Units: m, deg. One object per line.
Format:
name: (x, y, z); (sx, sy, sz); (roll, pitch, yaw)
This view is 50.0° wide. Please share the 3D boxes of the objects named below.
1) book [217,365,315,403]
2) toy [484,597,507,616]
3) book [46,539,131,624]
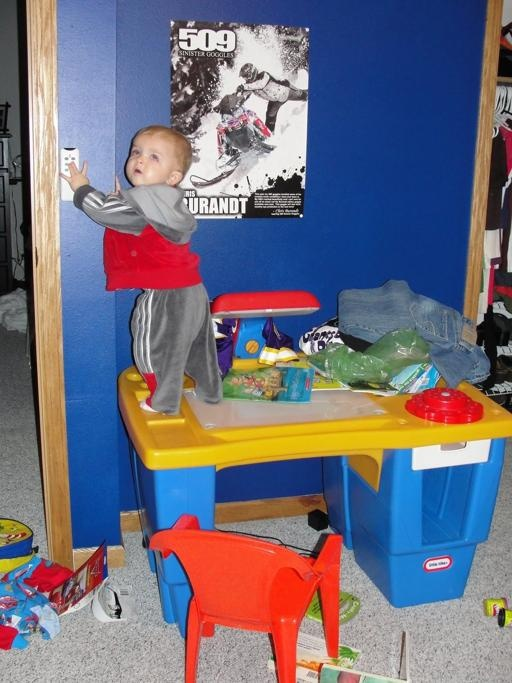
book: (0.030, 0.106, 1.467); (0.240, 0.023, 0.201); (3, 21, 4)
toy: (0.605, 0.674, 1.393); (0.045, 0.047, 0.045); (1, 20, 13)
book: (-0.424, 0.641, 1.441); (0.166, 0.175, 0.124); (40, 0, -14)
